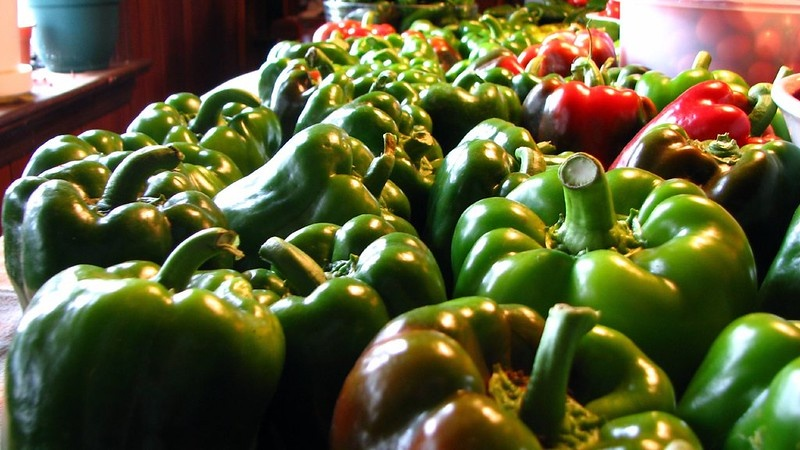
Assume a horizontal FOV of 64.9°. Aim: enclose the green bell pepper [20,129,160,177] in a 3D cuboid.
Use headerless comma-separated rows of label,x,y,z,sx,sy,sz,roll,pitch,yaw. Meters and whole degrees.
green bell pepper,-0.960,-0.236,1.932,0.256,0.115,0.250,-16,20,-27
